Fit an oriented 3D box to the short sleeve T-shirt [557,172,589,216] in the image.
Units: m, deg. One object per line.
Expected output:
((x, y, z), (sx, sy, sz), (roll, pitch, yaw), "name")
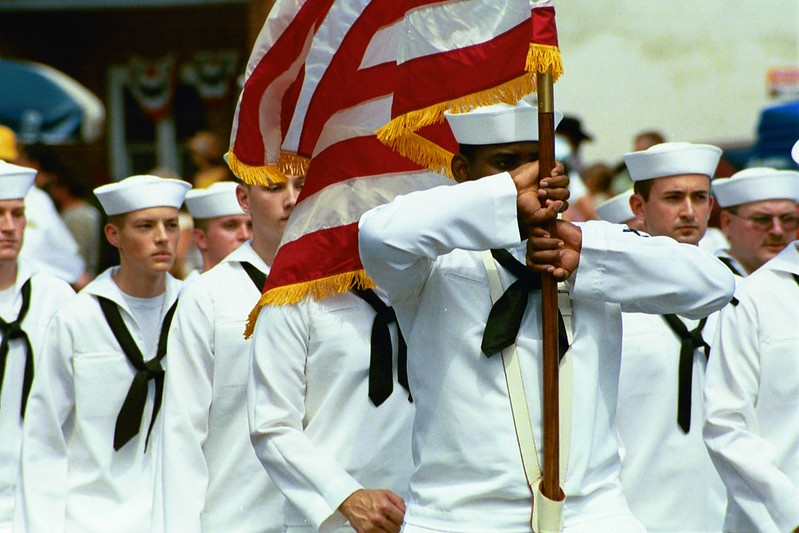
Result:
((1.897, -0.789, 24.180), (0.188, 0.560, 0.434), (-8, -1, 5), "short sleeve T-shirt")

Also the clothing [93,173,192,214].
((-2.371, -0.588, 20.231), (0.829, 0.264, 0.704), (-11, -10, 8), "clothing")

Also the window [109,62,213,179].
((-3.189, -1.914, 29.228), (1.870, 1.981, 0.150), (-2, 8, -6), "window")
